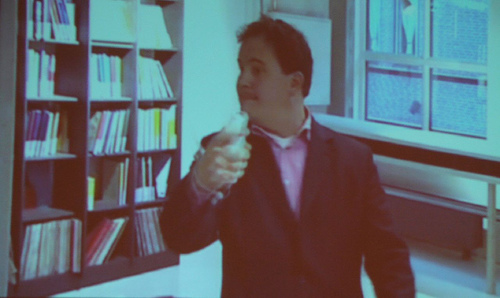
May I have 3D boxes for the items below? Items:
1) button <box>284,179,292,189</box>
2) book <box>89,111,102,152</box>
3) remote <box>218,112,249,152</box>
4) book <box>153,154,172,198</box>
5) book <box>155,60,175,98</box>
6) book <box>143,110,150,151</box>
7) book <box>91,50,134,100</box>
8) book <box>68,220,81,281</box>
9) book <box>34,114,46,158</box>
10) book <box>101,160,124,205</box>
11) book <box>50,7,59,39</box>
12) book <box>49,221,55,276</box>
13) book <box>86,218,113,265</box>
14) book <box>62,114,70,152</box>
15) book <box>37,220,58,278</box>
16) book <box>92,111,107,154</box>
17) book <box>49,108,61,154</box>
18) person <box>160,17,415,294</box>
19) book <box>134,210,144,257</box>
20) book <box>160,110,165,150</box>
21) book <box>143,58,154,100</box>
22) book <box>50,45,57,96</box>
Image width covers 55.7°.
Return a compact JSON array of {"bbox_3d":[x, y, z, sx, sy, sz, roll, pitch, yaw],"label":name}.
[{"bbox_3d":[0.231,0.222,2.925,0.054,0.051,0.013,1,-3,-1],"label":"button"},{"bbox_3d":[-1.321,-0.151,4.045,0.063,0.262,0.261,8,-21,-8],"label":"book"},{"bbox_3d":[-0.071,-0.088,2.558,0.128,0.190,0.198,3,10,16],"label":"remote"},{"bbox_3d":[-0.786,0.248,4.292,0.162,0.389,0.093,0,9,2],"label":"book"},{"bbox_3d":[-0.739,-0.613,4.236,0.067,0.274,0.274,-22,16,-11],"label":"book"},{"bbox_3d":[-0.917,-0.157,4.190,0.040,0.352,0.087,3,10,17],"label":"book"},{"bbox_3d":[-1.211,-0.695,4.178,0.254,0.235,0.180,-6,8,-40],"label":"book"},{"bbox_3d":[-1.477,0.868,3.998,0.122,0.483,0.034,-3,10,-20],"label":"book"},{"bbox_3d":[-1.698,-0.101,3.840,0.033,0.344,0.107,6,11,34],"label":"book"},{"bbox_3d":[-1.213,0.296,4.175,0.211,0.378,0.070,4,10,23],"label":"book"},{"bbox_3d":[-1.580,-1.008,3.836,0.052,0.236,0.027,6,11,31],"label":"book"},{"bbox_3d":[-1.635,0.826,3.924,0.034,0.444,0.073,3,10,19],"label":"book"},{"bbox_3d":[-1.319,0.799,4.140,0.231,0.349,0.113,-4,10,-24],"label":"book"},{"bbox_3d":[-1.538,-0.127,3.969,0.077,0.316,0.026,-4,10,-23],"label":"book"},{"bbox_3d":[-1.664,0.831,3.912,0.090,0.362,0.353,6,-4,-30],"label":"book"},{"bbox_3d":[-1.286,-0.142,4.049,0.132,0.343,0.023,-8,12,-41],"label":"book"},{"bbox_3d":[-1.608,-0.141,3.922,0.067,0.371,0.112,1,9,6],"label":"book"},{"bbox_3d":[0.214,0.067,2.861,1.474,1.691,0.515,-3,10,-18],"label":"person"},{"bbox_3d":[-0.986,0.764,4.212,0.063,0.412,0.046,2,9,10],"label":"book"},{"bbox_3d":[-0.783,-0.166,4.226,0.037,0.342,0.044,-2,9,-11],"label":"book"},{"bbox_3d":[-0.883,-0.610,4.173,0.076,0.356,0.068,7,11,35],"label":"book"},{"bbox_3d":[-1.618,-0.643,3.915,0.062,0.410,0.107,-2,9,-15],"label":"book"}]
